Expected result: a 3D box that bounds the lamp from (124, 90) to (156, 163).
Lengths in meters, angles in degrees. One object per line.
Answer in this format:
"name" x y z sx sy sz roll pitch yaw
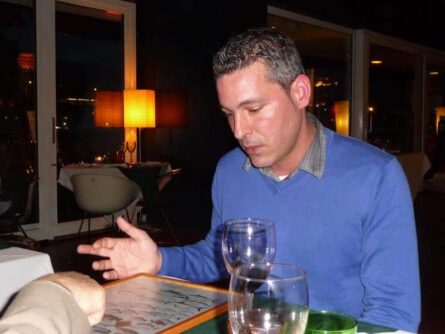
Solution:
"lamp" -1.271 -0.311 5.754 0.509 0.644 1.999 -6 -29 -14
